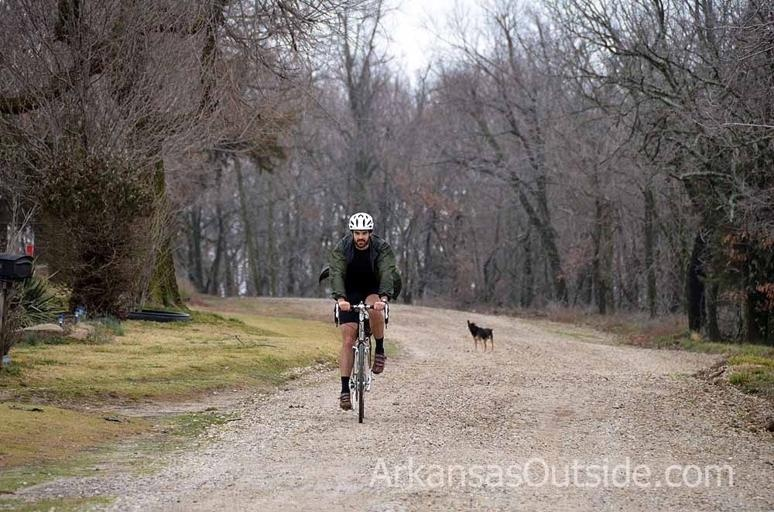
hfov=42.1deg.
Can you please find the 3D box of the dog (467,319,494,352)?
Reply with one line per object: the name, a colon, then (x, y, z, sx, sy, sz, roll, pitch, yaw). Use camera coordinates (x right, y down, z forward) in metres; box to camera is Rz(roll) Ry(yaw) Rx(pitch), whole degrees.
dog: (3.319, 2.891, 35.435, 0.815, 0.982, 2.186, 1, 8, 4)
